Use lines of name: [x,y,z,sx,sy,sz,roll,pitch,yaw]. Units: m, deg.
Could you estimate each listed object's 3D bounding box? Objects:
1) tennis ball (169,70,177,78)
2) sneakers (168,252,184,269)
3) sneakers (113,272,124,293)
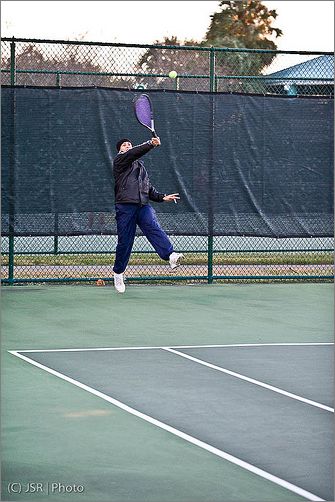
tennis ball: [0.085,-2.994,9.868,0.132,0.128,0.132,-2,-4,0]
sneakers: [0.101,0.136,7.918,0.110,0.137,0.296,-16,-21,-42]
sneakers: [-0.723,0.484,8.909,0.121,0.341,0.148,-11,4,-16]
